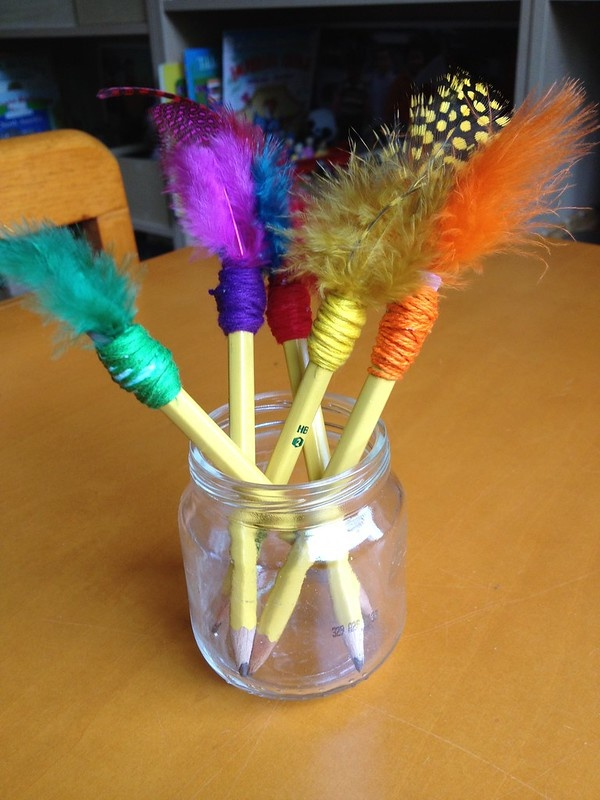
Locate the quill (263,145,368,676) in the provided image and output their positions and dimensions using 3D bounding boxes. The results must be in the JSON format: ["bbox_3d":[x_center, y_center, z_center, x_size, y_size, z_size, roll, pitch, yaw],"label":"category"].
[{"bbox_3d":[0.006,0.017,0.374,0.040,0.206,0.032,-3,0,-21],"label":"quill"}]

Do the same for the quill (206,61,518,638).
[{"bbox_3d":[0.030,-0.004,0.396,0.092,0.306,0.096,28,3,-20],"label":"quill"}]
